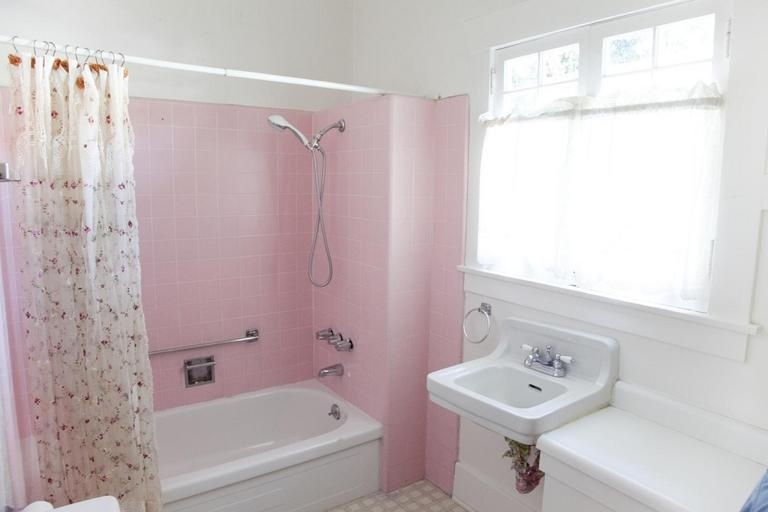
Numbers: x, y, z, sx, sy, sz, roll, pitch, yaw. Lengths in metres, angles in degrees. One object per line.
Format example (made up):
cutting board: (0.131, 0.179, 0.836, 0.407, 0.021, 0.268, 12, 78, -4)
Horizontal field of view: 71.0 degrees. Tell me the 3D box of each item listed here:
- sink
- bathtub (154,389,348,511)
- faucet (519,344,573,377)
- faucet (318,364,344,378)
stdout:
sink: (0.700, 0.630, 2.811, 0.750, 0.419, 0.801, -7, 9, -24)
bathtub: (-0.837, 1.220, 3.501, 1.152, 0.356, 0.845, -7, 13, -26)
faucet: (0.869, 0.552, 2.894, 0.091, 0.138, 0.276, -14, 16, -40)
faucet: (-0.372, 0.784, 3.753, 0.152, 0.081, 0.095, 0, 1, -38)
